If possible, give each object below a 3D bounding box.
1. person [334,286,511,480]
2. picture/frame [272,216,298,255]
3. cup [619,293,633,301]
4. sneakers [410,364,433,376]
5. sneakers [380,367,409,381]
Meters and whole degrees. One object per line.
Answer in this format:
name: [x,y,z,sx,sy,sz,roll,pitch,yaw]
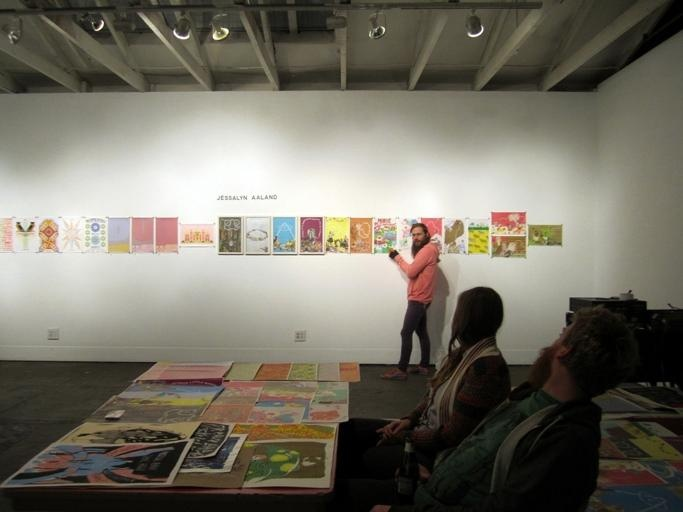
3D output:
person: [0.491,0.832,4.061,1.544,2.042,0.904,5,5,10]
picture/frame: [-0.759,-0.277,6.337,0.400,0.494,0.024,0,1,-37]
cup: [2.859,0.393,4.809,0.095,0.055,0.093,0,2,0]
sneakers: [0.983,1.428,6.053,0.318,0.123,0.122,3,5,23]
sneakers: [0.644,1.426,5.817,0.288,0.115,0.130,3,-3,3]
